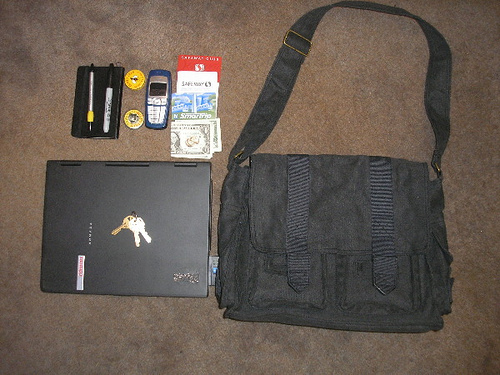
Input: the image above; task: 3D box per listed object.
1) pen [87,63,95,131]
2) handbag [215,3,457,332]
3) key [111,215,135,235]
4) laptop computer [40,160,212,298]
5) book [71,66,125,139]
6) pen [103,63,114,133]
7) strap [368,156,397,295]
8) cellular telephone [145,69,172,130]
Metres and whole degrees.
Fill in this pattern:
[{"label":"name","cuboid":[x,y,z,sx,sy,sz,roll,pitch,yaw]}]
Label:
[{"label":"pen","cuboid":[-0.657,-0.376,2.308,0.020,0.023,0.271,3,83,2]},{"label":"handbag","cuboid":[0.371,-0.110,2.242,0.916,0.275,1.335,7,78,-6]},{"label":"key","cuboid":[-0.492,0.144,2.170,0.033,0.053,0.093,42,87,-9]},{"label":"laptop computer","cuboid":[-0.490,0.164,2.177,0.634,0.138,0.546,2,88,5]},{"label":"book","cuboid":[-0.639,-0.354,2.334,0.208,0.041,0.313,0,81,12]},{"label":"pen","cuboid":[-0.579,-0.369,2.319,0.028,0.030,0.292,5,85,-6]},{"label":"strap","cuboid":[0.504,0.142,2.122,0.090,0.078,0.516,-2,79,-8]},{"label":"cellular telephone","cuboid":[-0.378,-0.360,2.292,0.098,0.058,0.239,0,90,-4]}]
